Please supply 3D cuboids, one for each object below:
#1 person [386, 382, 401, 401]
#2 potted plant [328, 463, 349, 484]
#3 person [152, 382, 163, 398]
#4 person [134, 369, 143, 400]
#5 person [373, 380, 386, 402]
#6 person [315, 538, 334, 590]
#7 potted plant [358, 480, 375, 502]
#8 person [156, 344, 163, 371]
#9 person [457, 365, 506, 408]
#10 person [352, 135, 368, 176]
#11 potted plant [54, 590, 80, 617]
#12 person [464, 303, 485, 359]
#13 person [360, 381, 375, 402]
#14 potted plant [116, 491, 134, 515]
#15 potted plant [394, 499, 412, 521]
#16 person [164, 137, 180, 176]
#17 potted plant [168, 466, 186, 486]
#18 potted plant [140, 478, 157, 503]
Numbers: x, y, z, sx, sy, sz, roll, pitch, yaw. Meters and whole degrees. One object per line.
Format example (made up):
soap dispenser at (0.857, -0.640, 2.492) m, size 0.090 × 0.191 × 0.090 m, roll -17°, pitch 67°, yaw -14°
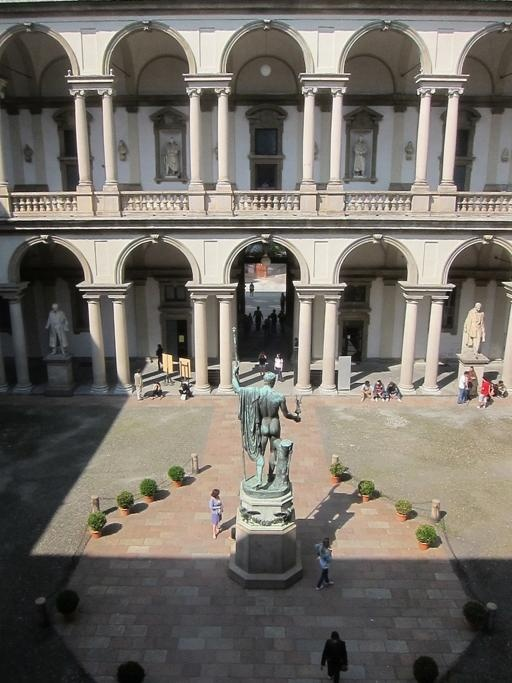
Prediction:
person at (5.764, 2.103, 21.700) m, size 0.612 × 0.734 × 0.738 m, roll -2°, pitch 4°, yaw 7°
potted plant at (2.415, 3.795, 15.004) m, size 0.597 × 0.656 × 0.615 m, roll 3°, pitch 9°, yaw 12°
person at (-4.280, 2.079, 22.166) m, size 0.288 × 0.592 × 0.872 m, roll 3°, pitch 20°, yaw -2°
person at (-5.108, 1.774, 22.406) m, size 0.388 × 1.126 × 1.866 m, roll -3°, pitch 13°, yaw -13°
person at (5.204, 2.071, 21.729) m, size 0.537 × 0.758 × 0.510 m, roll 3°, pitch 13°, yaw 14°
person at (1.389, 4.428, 10.274) m, size 0.400 × 1.006 × 0.295 m, roll 1°, pitch 10°, yaw -20°
potted plant at (2.949, 3.999, 13.834) m, size 0.409 × 0.646 × 0.608 m, roll 3°, pitch 13°, yaw 14°
person at (-4.802, 0.763, 25.763) m, size 0.353 × 1.219 × 1.284 m, roll -3°, pitch 13°, yaw -11°
person at (9.517, 1.995, 21.883) m, size 1.408 × 1.353 × 0.931 m, roll -3°, pitch 19°, yaw -6°
person at (4.859, -8.619, 24.033) m, size 0.702 × 1.854 × 0.387 m, roll 1°, pitch 12°, yaw 5°
potted plant at (-3.480, 4.884, 9.523) m, size 0.361 × 0.578 × 0.469 m, roll -6°, pitch 14°, yaw -24°
person at (9.381, -0.529, 22.242) m, size 0.775 × 2.304 × 1.020 m, roll 5°, pitch 13°, yaw 22°
person at (4.935, 2.092, 22.113) m, size 0.566 × 0.848 × 0.842 m, roll 1°, pitch 8°, yaw 5°
potted plant at (-3.348, 4.171, 13.191) m, size 0.464 × 0.528 × 0.454 m, roll -11°, pitch 22°, yaw -36°
potted plant at (3.692, 4.192, 12.909) m, size 0.317 × 0.663 × 0.686 m, roll 5°, pitch 13°, yaw 22°
person at (-3.887, -8.515, 23.951) m, size 0.768 × 1.758 × 0.326 m, roll -2°, pitch 13°, yaw -10°
potted plant at (-2.220, 3.793, 14.634) m, size 0.564 × 0.606 × 0.563 m, roll 1°, pitch 19°, yaw -4°
potted plant at (-2.858, 3.985, 13.836) m, size 0.409 × 0.749 × 0.574 m, roll -3°, pitch 13°, yaw -12°
